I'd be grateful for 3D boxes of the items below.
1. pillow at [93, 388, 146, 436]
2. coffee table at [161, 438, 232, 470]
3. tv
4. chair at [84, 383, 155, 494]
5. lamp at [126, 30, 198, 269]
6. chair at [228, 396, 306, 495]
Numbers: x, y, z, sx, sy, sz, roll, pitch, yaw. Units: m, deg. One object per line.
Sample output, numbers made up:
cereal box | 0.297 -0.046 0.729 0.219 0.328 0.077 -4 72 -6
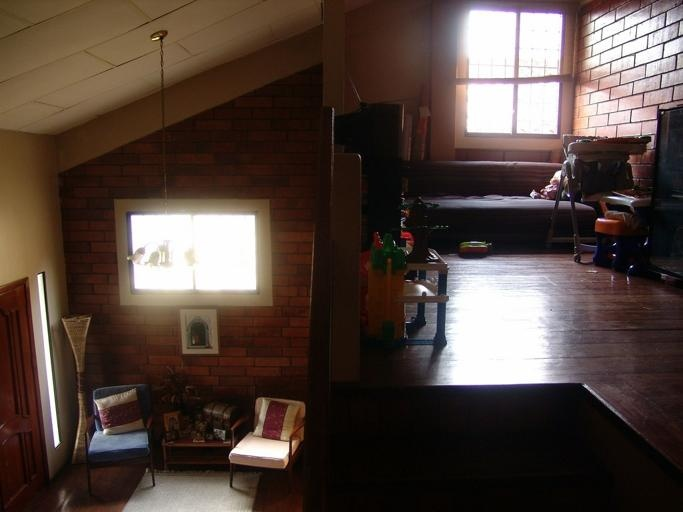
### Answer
pillow | -2.581 1.792 6.509 0.443 0.432 0.157 -17 -5 -18
coffee table | -1.698 2.288 6.576 0.912 0.384 0.237 -1 6 3
tv | 0.210 -0.908 4.380 0.486 0.430 0.492 2 8 -1
chair | -2.534 2.032 6.426 0.712 1.016 0.680 -4 6 -19
lamp | -1.817 -1.094 5.872 0.851 2.526 0.930 -3 1 1
chair | -0.807 2.065 6.398 0.762 0.779 0.926 3 1 3
